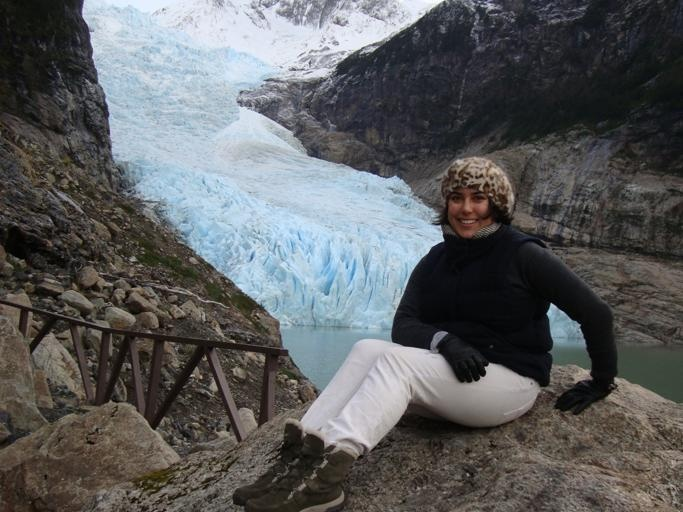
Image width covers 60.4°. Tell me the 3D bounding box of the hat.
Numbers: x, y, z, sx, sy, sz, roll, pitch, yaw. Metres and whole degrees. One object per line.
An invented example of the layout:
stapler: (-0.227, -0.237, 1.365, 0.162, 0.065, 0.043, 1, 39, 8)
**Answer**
hat: (1.023, -0.488, 4.442, 0.428, 0.402, 0.513, 1, -8, 6)

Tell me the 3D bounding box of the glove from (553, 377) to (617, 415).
glove: (1.735, 0.989, 4.254, 0.399, 0.110, 0.218, -33, 25, -24)
